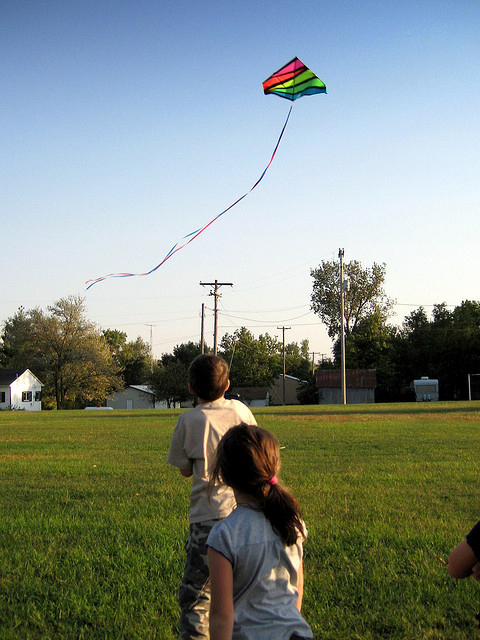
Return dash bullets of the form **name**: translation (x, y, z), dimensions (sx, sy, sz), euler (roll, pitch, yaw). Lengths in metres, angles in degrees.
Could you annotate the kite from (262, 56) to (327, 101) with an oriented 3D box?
- **kite**: translation (0.488, -2.478, 7.327), dimensions (0.599, 0.204, 0.776), euler (-3, -7, 31)
